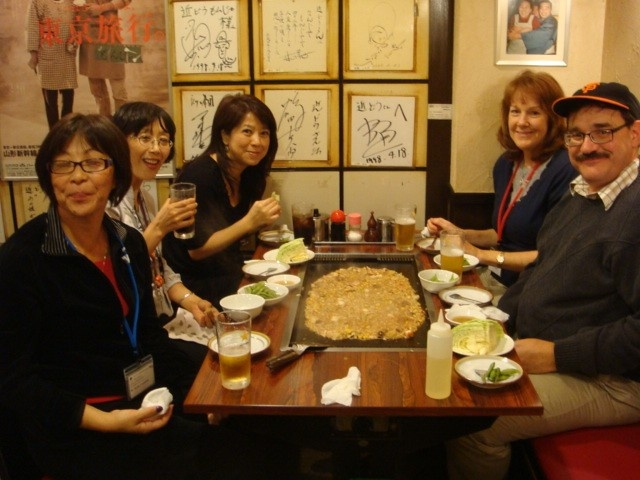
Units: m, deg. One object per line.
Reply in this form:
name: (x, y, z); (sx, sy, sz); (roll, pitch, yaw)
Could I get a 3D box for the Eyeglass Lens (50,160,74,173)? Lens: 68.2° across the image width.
Eyeglass Lens: (-0.975, -0.278, 1.794); (0.091, 0.049, 0.025); (0, 15, 5)

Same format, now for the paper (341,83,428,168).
paper: (0.506, -0.912, 3.629); (0.645, 0.602, 0.062); (0, 11, 0)

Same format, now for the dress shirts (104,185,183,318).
dress shirts: (-0.860, 0.061, 2.297); (0.324, 0.283, 0.727); (-14, -21, 4)

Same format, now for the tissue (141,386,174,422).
tissue: (-0.631, 0.630, 1.828); (0.093, 0.112, 0.049); (14, -7, 3)

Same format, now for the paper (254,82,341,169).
paper: (-0.174, -0.893, 3.541); (0.735, 0.712, 0.053); (0, 13, -2)

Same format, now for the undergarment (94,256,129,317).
undergarment: (-0.848, 0.193, 2.010); (0.144, 0.230, 0.099); (-24, -9, -21)

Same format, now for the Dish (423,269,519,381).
Dish: (0.641, 0.360, 1.930); (0.309, 0.136, 0.316); (-14, 27, -15)

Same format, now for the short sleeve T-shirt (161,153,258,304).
short sleeve T-shirt: (-0.671, -0.063, 2.885); (0.542, 0.737, 0.700); (22, 18, 2)

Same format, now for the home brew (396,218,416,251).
home brew: (0.520, -0.037, 2.917); (0.162, 0.189, 0.121); (-7, 19, -16)

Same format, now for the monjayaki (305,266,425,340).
monjayaki: (0.206, 0.289, 2.400); (0.589, 0.041, 0.792); (0, 20, 1)

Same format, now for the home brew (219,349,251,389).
home brew: (-0.296, 0.458, 1.716); (0.097, 0.105, 0.096); (-8, -11, 1)

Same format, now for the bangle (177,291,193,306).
bangle: (-0.743, 0.316, 2.611); (0.017, 0.063, 0.064); (36, 4, -7)

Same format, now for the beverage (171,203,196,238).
beverage: (-0.707, -0.109, 2.437); (0.145, 0.222, 0.135); (1, 28, -10)

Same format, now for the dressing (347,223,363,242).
dressing: (0.232, -0.055, 3.233); (0.105, 0.096, 0.103); (0, 11, 2)

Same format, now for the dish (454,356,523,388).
dish: (0.596, 0.473, 1.705); (0.219, 0.051, 0.227); (0, 15, 18)
